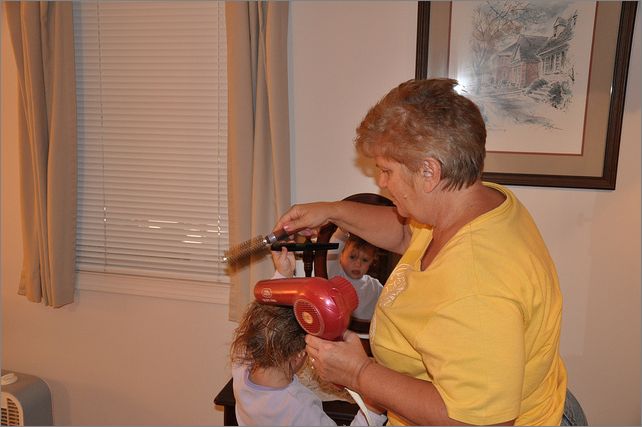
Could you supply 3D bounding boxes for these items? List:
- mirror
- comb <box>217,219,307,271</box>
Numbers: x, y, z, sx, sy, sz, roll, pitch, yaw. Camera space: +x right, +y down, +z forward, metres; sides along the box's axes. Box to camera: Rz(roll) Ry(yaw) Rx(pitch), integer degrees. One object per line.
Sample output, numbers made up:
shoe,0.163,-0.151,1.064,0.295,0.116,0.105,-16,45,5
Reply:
mirror,0.154,0.207,2.631,0.352,0.651,0.397,7,16,13
comb,-0.258,0.138,2.258,0.279,0.179,0.270,2,10,24
